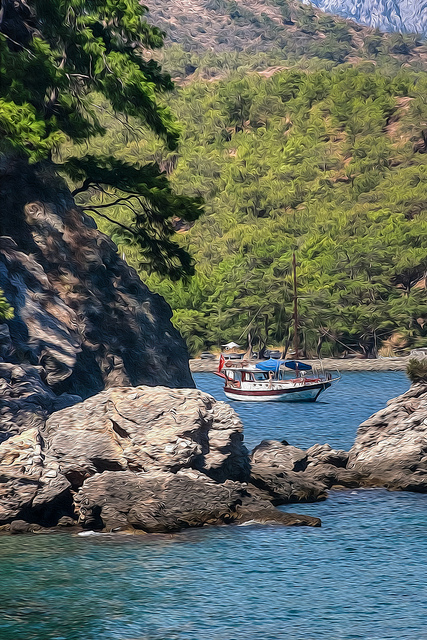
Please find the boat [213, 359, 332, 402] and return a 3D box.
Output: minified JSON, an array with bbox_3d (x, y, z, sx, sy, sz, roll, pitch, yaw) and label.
[{"bbox_3d":[3.560,4.006,56.166,8.202,2.597,2.578,1,-2,28],"label":"boat"}]
